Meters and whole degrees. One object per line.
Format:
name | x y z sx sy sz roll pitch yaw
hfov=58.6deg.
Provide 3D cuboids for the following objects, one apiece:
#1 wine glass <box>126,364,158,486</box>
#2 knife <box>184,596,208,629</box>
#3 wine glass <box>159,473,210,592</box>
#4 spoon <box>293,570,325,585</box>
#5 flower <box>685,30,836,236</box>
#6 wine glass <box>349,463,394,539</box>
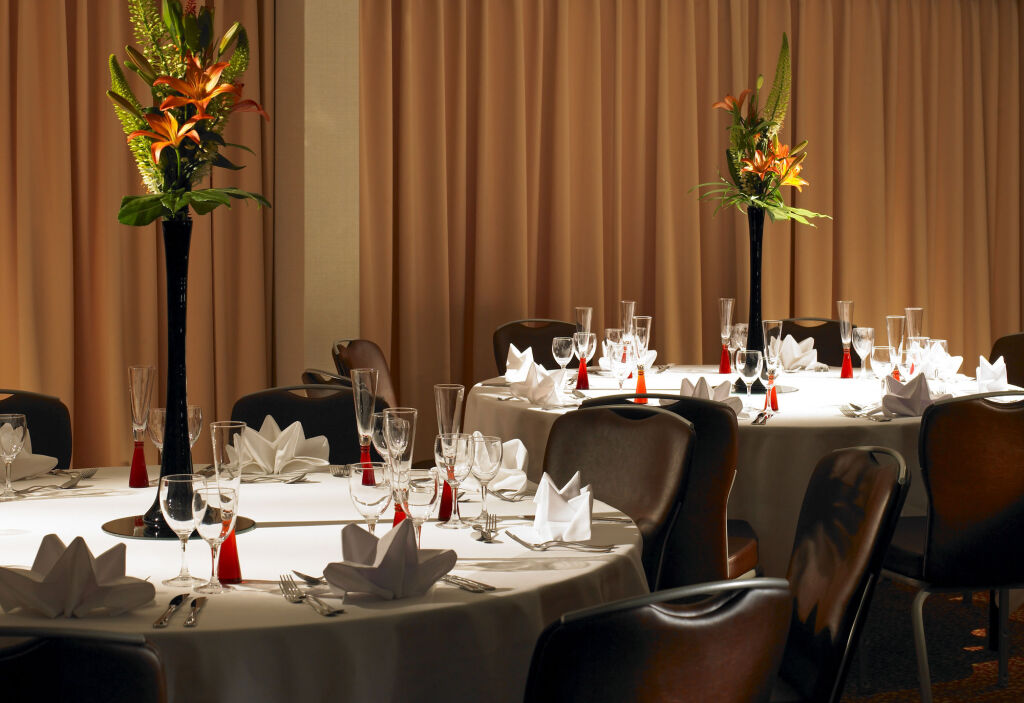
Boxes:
wine glass | -1.119 0.238 2.732 0.086 0.365 0.088 3 -9 -26
knife | -0.687 0.563 1.968 0.019 0.014 0.072 9 20 -6
wine glass | -0.775 0.413 2.136 0.099 0.261 0.267 -1 0 -22
spoon | -0.476 0.534 2.132 0.063 0.026 0.031 13 -13 7
flower | 1.214 -1.028 4.189 0.562 0.791 0.538 -5 22 -34
wine glass | -0.345 0.401 2.232 0.092 0.279 0.097 3 21 0
